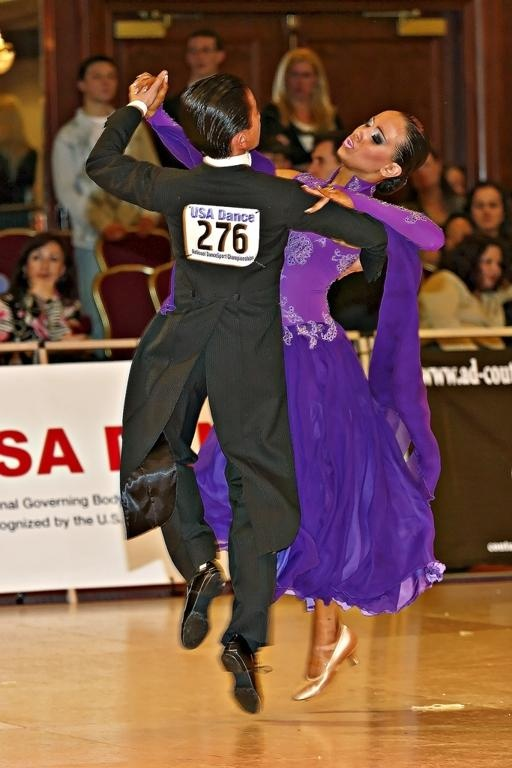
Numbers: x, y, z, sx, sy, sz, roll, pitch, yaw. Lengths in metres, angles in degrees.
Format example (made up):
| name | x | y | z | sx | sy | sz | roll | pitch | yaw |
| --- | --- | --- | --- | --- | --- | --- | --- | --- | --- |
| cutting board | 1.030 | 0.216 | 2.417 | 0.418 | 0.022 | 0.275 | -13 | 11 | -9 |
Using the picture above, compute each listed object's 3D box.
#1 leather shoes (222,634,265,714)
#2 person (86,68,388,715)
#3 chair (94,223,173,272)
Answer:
| name | x | y | z | sx | sy | sz | roll | pitch | yaw |
| --- | --- | --- | --- | --- | --- | --- | --- | --- | --- |
| leather shoes | -0.035 | 0.651 | 1.777 | 0.085 | 0.181 | 0.147 | -1 | 13 | -1 |
| person | -0.053 | -0.008 | 1.864 | 0.479 | 1.407 | 0.554 | -14 | 18 | -43 |
| chair | -0.765 | -0.861 | 5.038 | 0.337 | 0.353 | 0.464 | 12 | 41 | -6 |
